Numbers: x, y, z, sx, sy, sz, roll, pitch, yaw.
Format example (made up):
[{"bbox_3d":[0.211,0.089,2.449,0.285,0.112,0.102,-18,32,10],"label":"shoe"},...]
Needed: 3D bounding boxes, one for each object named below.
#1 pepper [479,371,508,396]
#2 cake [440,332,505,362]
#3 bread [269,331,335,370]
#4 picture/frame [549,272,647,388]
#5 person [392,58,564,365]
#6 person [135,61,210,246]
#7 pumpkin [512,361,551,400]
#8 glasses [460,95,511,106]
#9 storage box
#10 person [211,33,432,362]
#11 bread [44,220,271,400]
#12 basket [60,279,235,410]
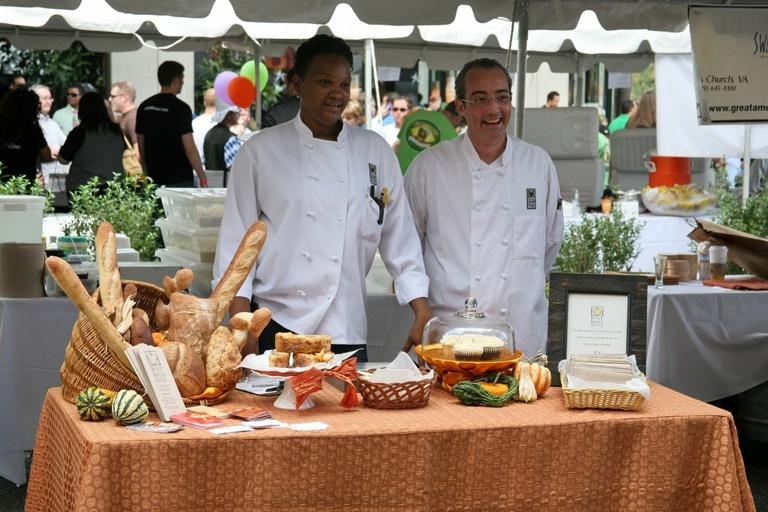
[{"bbox_3d":[0.419,0.474,2.961,0.071,0.075,0.075,2,-1,-15],"label":"pepper"},{"bbox_3d":[0.346,0.344,3.032,0.236,0.094,0.087,1,5,7],"label":"cake"},{"bbox_3d":[-0.304,0.339,2.904,0.229,0.117,0.142,0,5,-7],"label":"bread"},{"bbox_3d":[0.843,0.290,3.134,0.376,0.446,0.096,2,5,14],"label":"picture/frame"},{"bbox_3d":[0.473,-0.320,3.978,0.761,0.890,1.456,0,42,3],"label":"person"},{"bbox_3d":[-2.138,-1.023,7.989,0.546,1.725,0.535,-3,28,-8],"label":"person"},{"bbox_3d":[0.560,0.470,3.000,0.125,0.163,0.122,6,-17,-16],"label":"pumpkin"},{"bbox_3d":[0.494,-0.747,3.794,0.235,0.055,0.115,1,5,1],"label":"glasses"},{"bbox_3d":[-1.239,-0.159,4.978,0.529,0.861,0.514,1,2,2],"label":"storage box"},{"bbox_3d":[-0.280,-0.266,3.613,0.964,1.472,0.431,0,4,-7],"label":"person"},{"bbox_3d":[-0.853,0.222,2.936,0.685,0.594,0.655,11,10,39],"label":"bread"},{"bbox_3d":[-0.858,0.359,2.842,0.537,0.519,0.464,-8,14,-35],"label":"basket"}]
